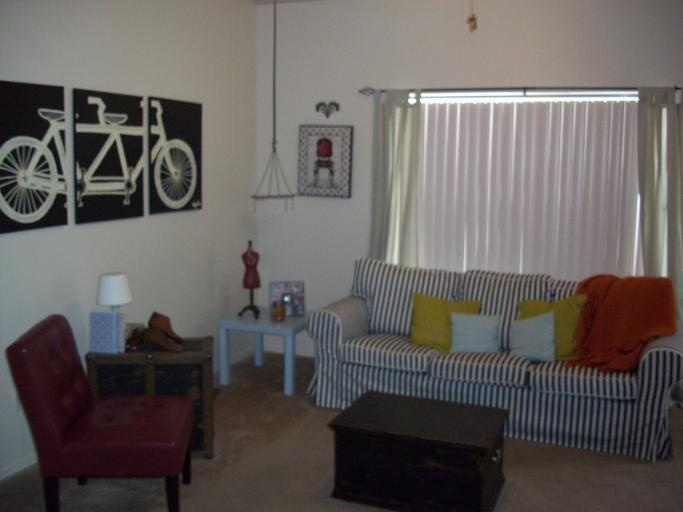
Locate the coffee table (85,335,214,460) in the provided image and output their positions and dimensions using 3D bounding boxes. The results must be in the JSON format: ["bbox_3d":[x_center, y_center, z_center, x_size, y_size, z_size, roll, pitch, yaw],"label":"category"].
[{"bbox_3d":[-1.187,0.787,3.846,0.831,0.770,0.590,0,0,-2],"label":"coffee table"}]

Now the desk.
[{"bbox_3d":[-0.616,0.742,5.158,0.647,0.577,0.677,2,4,25],"label":"desk"}]

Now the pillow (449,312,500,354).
[{"bbox_3d":[0.989,0.591,4.449,0.230,0.224,0.093,0,-16,6],"label":"pillow"}]

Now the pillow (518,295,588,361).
[{"bbox_3d":[1.549,0.548,4.340,0.345,0.380,0.137,-11,-35,29],"label":"pillow"}]

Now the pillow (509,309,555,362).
[{"bbox_3d":[1.397,0.595,4.331,0.266,0.317,0.109,-10,-31,29],"label":"pillow"}]
